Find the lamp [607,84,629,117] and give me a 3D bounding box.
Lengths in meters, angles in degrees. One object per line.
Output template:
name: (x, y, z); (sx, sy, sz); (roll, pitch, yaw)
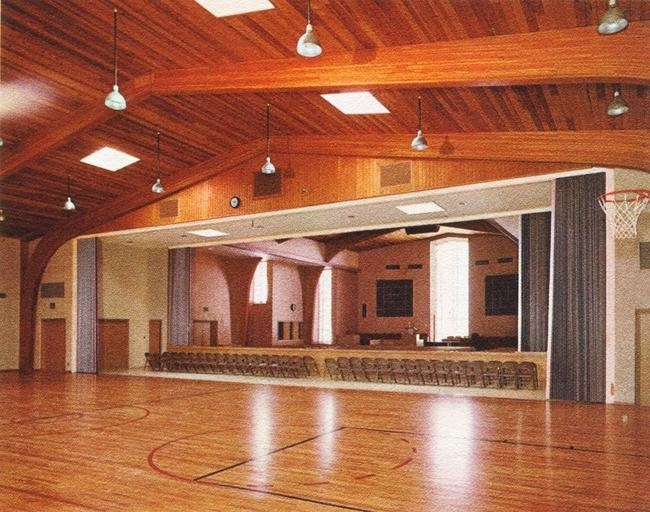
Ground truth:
lamp: (4.537, -2.391, 9.427); (0.285, 0.354, 0.537); (-5, -8, 23)
